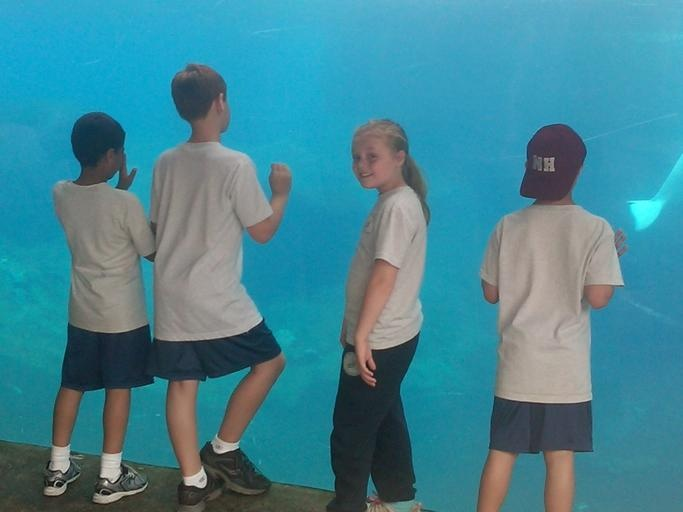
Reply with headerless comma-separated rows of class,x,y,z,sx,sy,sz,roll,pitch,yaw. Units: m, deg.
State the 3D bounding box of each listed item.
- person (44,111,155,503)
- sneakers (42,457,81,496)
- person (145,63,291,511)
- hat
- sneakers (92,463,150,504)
person,-1.816,0.388,4.931,0.770,2.868,0.615,0,10,-22
sneakers,-2.216,1.681,5.203,0.198,0.237,0.541,4,0,-6
person,-0.943,0.511,4.876,1.011,2.661,0.526,2,10,-11
hat,1.453,-0.640,4.543,0.387,0.532,0.185,8,10,20
sneakers,-1.664,1.723,4.955,0.183,0.217,0.464,8,8,41
